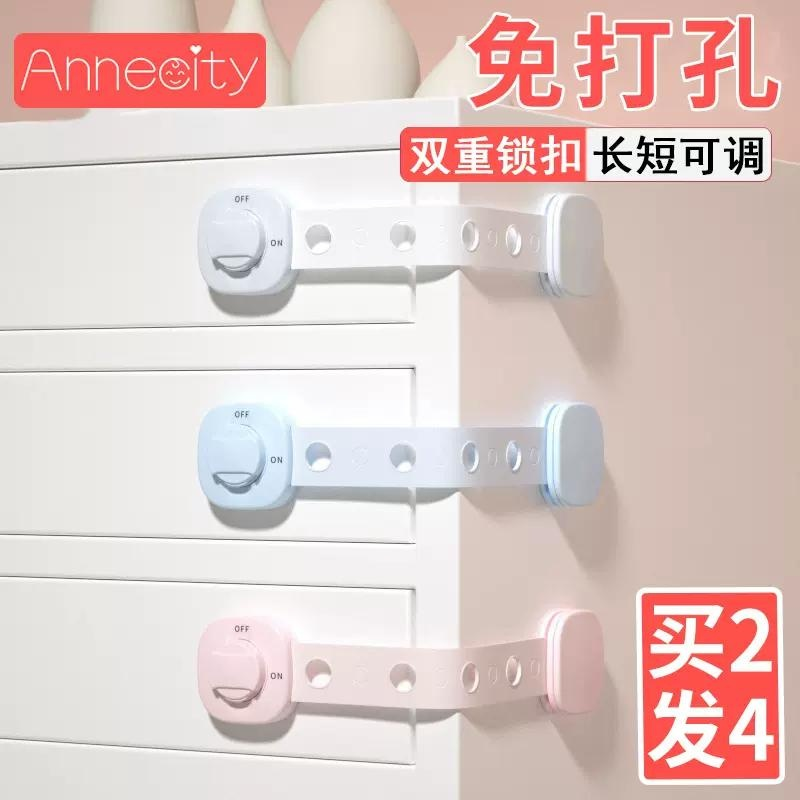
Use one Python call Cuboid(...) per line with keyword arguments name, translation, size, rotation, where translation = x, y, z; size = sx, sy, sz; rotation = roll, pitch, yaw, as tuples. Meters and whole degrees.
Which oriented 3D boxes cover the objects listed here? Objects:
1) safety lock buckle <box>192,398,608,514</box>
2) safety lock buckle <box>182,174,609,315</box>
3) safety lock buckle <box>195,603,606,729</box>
Cuboid(name="safety lock buckle", translation=(0.016, 0.055, 0.914), size=(0.426, 0.109, 0.158), rotation=(2, -2, -21))
Cuboid(name="safety lock buckle", translation=(0.015, -0.160, 0.910), size=(0.433, 0.124, 0.116), rotation=(2, -2, -9))
Cuboid(name="safety lock buckle", translation=(0.012, 0.271, 0.891), size=(0.421, 0.114, 0.114), rotation=(2, -2, -7))
